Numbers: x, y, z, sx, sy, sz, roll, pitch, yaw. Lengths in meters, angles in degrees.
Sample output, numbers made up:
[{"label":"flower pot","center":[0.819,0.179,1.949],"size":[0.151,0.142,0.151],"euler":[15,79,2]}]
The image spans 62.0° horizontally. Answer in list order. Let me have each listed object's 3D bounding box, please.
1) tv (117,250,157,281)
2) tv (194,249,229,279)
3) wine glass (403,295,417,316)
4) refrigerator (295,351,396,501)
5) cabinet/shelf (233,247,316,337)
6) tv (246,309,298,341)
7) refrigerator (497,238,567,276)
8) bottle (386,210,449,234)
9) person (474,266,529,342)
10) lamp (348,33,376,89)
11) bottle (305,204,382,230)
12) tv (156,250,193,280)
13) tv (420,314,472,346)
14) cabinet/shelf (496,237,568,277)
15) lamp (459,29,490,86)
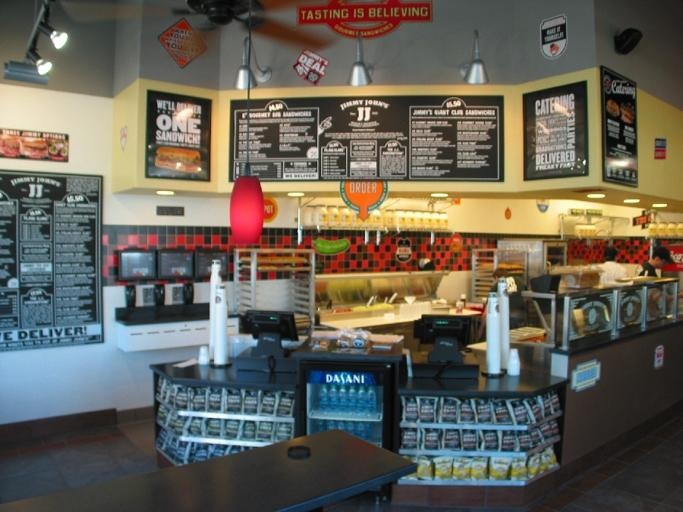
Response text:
[{"label":"tv","center":[-2.440,0.086,6.866],"size":[0.546,0.485,0.324],"euler":[0,2,-25]},{"label":"tv","center":[-1.603,0.095,6.865],"size":[0.372,0.327,0.119],"euler":[1,-3,-29]},{"label":"wine glass","center":[0.975,0.708,8.166],"size":[0.207,0.294,0.204],"euler":[2,-4,-15]},{"label":"refrigerator","center":[0.090,1.467,5.364],"size":[0.902,1.258,0.682],"euler":[1,9,6]},{"label":"cabinet/shelf","center":[-0.792,0.439,7.543],"size":[0.803,1.375,0.468],"euler":[-4,28,-13]},{"label":"tv","center":[-0.718,0.664,5.419],"size":[0.541,0.313,0.207],"euler":[1,9,16]},{"label":"refrigerator","center":[3.028,0.000,9.215],"size":[0.471,0.588,0.861],"euler":[19,13,35]},{"label":"bottle","center":[1.113,-0.513,8.273],"size":[0.292,0.361,1.196],"euler":[7,12,42]},{"label":"person","center":[2.380,0.627,8.610],"size":[0.577,0.860,0.597],"euler":[1,17,39]},{"label":"lamp","center":[0.195,-1.957,5.750],"size":[0.232,0.496,0.549],"euler":[-1,9,3]},{"label":"bottle","center":[-0.054,-0.513,7.536],"size":[0.954,0.318,0.235],"euler":[-3,9,-12]},{"label":"tv","center":[-2.066,0.066,7.130],"size":[0.572,0.502,0.313],"euler":[0,2,-26]},{"label":"tv","center":[0.937,0.672,5.250],"size":[0.513,0.281,0.184],"euler":[-1,9,3]},{"label":"cabinet/shelf","center":[2.959,0.089,9.298],"size":[0.899,0.643,0.529],"euler":[-1,6,33]},{"label":"lamp","center":[1.313,-1.996,5.669],"size":[0.274,0.607,0.652],"euler":[1,9,12]}]
